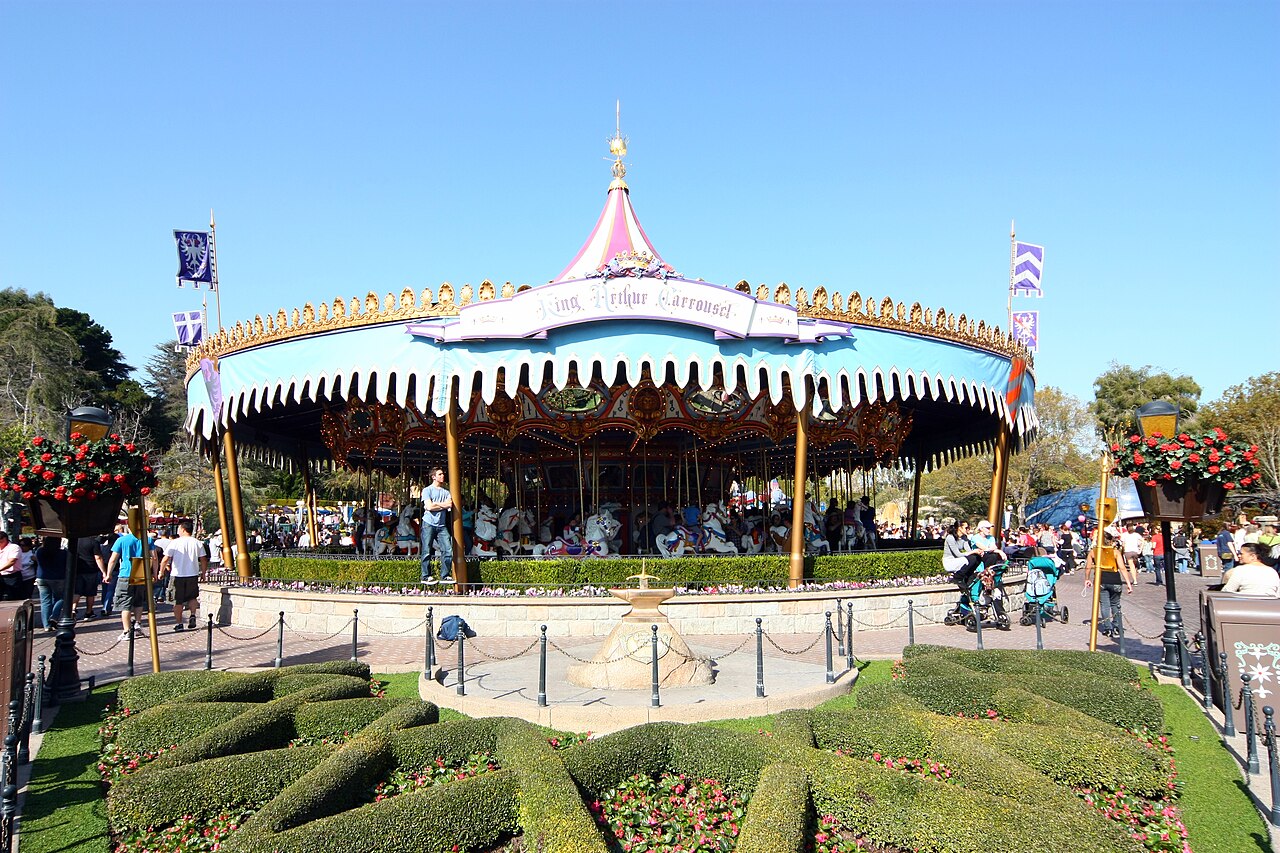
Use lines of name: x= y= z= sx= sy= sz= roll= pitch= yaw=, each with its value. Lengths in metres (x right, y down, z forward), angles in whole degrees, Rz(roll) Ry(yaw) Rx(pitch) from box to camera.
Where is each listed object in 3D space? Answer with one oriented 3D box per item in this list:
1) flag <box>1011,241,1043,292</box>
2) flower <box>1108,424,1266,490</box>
flag: x=10.468 y=-4.364 z=26.622 sx=0.765 sy=1.493 sz=1.340 roll=-3 pitch=-6 yaw=21
flower: x=9.461 y=0.546 z=17.036 sx=1.528 sy=0.859 sz=1.487 roll=2 pitch=1 yaw=19
